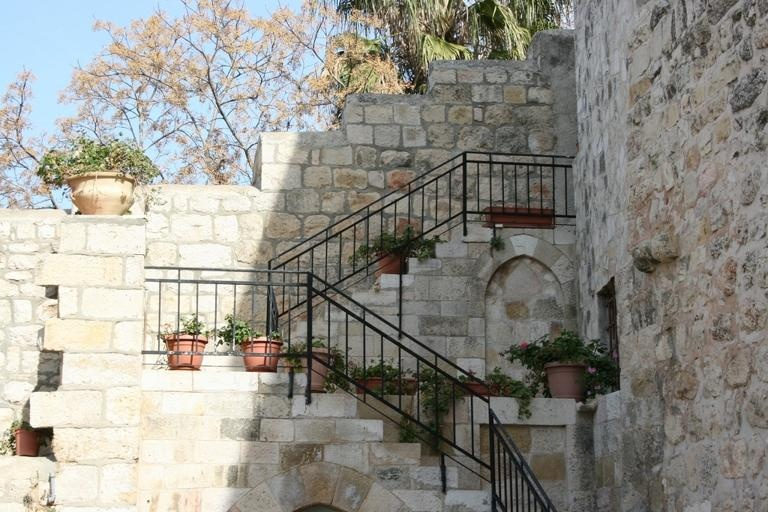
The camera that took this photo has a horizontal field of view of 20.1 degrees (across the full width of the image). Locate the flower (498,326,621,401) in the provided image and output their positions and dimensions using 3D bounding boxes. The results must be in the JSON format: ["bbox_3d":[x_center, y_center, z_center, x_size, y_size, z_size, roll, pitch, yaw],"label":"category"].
[{"bbox_3d":[1.950,1.157,22.953,1.061,0.653,0.764,-1,-25,11],"label":"flower"}]

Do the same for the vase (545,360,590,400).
[{"bbox_3d":[1.934,1.310,22.949,0.414,0.285,0.403,1,-19,-2],"label":"vase"}]

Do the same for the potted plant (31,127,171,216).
[{"bbox_3d":[-2.958,-0.792,22.772,1.207,0.759,1.006,-5,-11,20],"label":"potted plant"}]

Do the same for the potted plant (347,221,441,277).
[{"bbox_3d":[0.136,-0.055,24.479,0.632,0.420,0.769,-1,-8,-1],"label":"potted plant"}]
